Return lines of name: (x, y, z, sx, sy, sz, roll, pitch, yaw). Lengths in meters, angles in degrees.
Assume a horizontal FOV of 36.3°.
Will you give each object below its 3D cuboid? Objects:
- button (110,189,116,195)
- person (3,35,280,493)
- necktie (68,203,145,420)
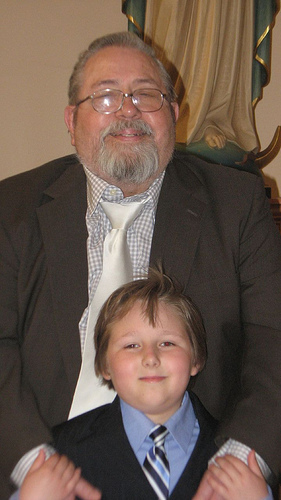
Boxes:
button: (-0.055, -0.120, 0.874, 0.010, 0.010, 0.003, 2, 6, 0)
person: (0.003, 0.004, 0.992, 0.552, 0.960, 0.351, -1, -19, 3)
necktie: (-0.060, 0.090, 0.797, 0.082, 0.304, 0.293, 0, 22, 18)
